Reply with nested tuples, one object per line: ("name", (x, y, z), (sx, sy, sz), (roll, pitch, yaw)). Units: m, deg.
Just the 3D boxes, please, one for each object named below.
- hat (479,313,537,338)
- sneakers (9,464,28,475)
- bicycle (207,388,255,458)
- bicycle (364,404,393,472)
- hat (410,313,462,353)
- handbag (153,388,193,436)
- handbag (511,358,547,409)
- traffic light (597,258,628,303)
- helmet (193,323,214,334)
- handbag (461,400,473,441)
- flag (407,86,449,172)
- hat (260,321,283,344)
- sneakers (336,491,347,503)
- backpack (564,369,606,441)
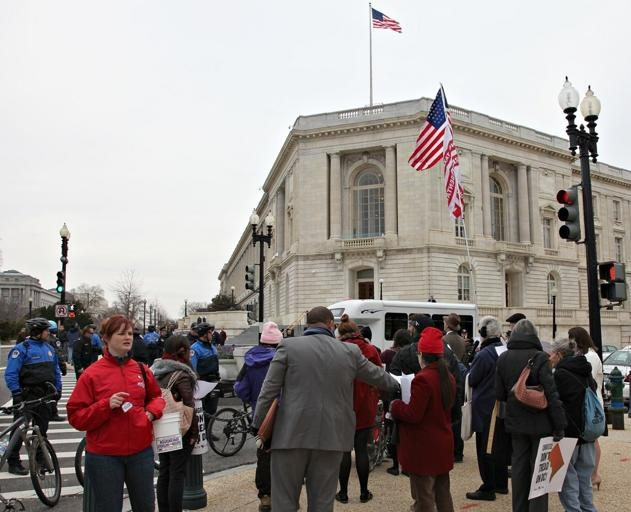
("hat", (2.822, 1.052, 10.670), (0.506, 0.400, 0.563), (1, -8, -4))
("sneakers", (-4.747, 3.462, 11.345), (0.387, 0.200, 0.142), (-4, -7, 29))
("bicycle", (-1.618, 3.242, 13.006), (1.315, 0.929, 0.636), (11, -12, -43))
("bicycle", (1.069, 3.109, 11.726), (0.412, 0.713, 1.059), (1, -4, 8))
("hat", (1.495, 1.074, 8.750), (0.410, 0.432, 0.712), (2, 9, 4))
("handbag", (-1.643, 1.871, 8.475), (0.488, 0.554, 0.423), (-4, -15, 26))
("handbag", (2.677, 1.608, 8.708), (0.380, 0.546, 0.228), (19, -29, -23))
("traffic light", (5.210, 0.445, 12.250), (0.472, 0.677, 0.524), (7, -11, -44))
("helmet", (-2.001, 1.261, 12.531), (0.205, 0.170, 0.276), (6, -18, -40))
("handbag", (2.226, 2.400, 10.296), (0.105, 0.749, 0.535), (0, -5, 18))
("flag", (4.805, -5.252, 28.559), (1.456, 3.435, 2.164), (2, -8, -13))
("hat", (-0.635, 1.146, 10.340), (0.278, 0.376, 0.404), (1, 2, 6))
("sneakers", (0.389, 3.390, 9.863), (0.128, 0.156, 0.278), (3, -9, -22))
("backpack", (3.577, 1.924, 9.158), (0.752, 0.930, 0.364), (8, -10, -44))
